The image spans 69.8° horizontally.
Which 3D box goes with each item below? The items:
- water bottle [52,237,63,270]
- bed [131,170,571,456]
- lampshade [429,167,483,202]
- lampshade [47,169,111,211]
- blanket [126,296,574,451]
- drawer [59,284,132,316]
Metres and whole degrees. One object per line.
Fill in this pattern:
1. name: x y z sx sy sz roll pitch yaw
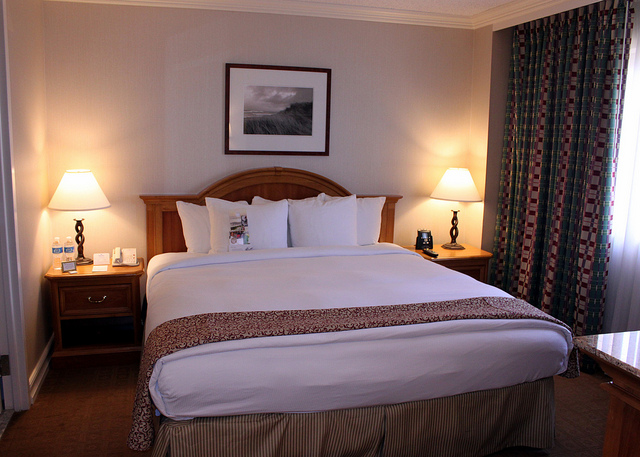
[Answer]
1. water bottle: -2.517 0.236 4.396 0.097 0.286 0.387 -8 7 -29
2. bed: -0.115 0.744 4.076 2.584 1.648 2.507 -1 7 -12
3. lampshade: 1.568 -0.466 5.312 0.625 0.412 0.649 9 2 35
4. lampshade: -2.336 -0.372 4.447 0.553 0.377 0.538 2 8 0
5. blanket: 0.054 0.882 3.132 2.612 0.730 0.368 -6 7 -11
6. drawer: -2.071 0.663 4.244 0.419 0.221 0.316 0 1 -20
